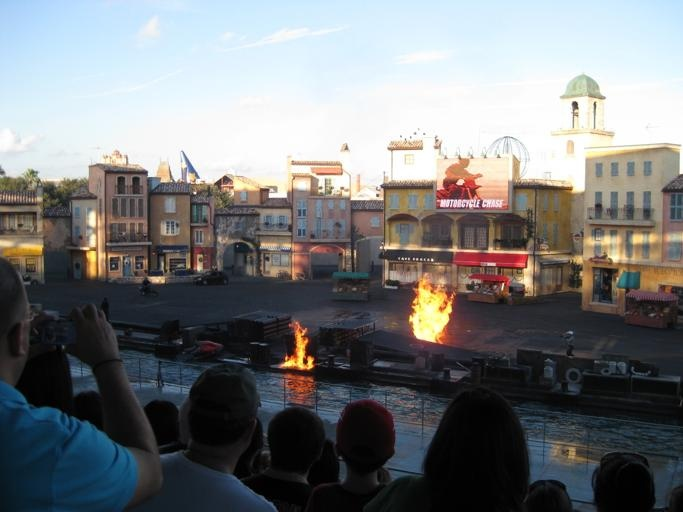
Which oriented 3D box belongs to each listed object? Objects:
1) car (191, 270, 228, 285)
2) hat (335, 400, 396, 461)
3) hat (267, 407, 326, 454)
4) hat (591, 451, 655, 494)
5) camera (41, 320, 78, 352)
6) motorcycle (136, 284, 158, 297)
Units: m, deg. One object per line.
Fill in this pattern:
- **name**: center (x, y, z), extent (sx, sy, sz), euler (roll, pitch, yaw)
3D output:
- **car**: center (-8.637, 1.522, 60.168), extent (1.726, 0.750, 1.035), euler (3, -2, -29)
- **hat**: center (0.209, 1.608, 8.349), extent (0.530, 0.540, 0.260), euler (1, 0, -1)
- **hat**: center (-0.441, 1.617, 8.682), extent (0.387, 0.474, 0.474), euler (3, 5, 2)
- **hat**: center (2.764, 2.100, 9.056), extent (0.496, 0.400, 1.062), euler (1, 0, 17)
- **camera**: center (-2.237, 0.614, 7.175), extent (0.331, 0.208, 0.177), euler (1, 0, 38)
- **motorcycle**: center (-11.152, 2.028, 51.948), extent (1.171, 0.589, 0.659), euler (-3, -13, 24)
